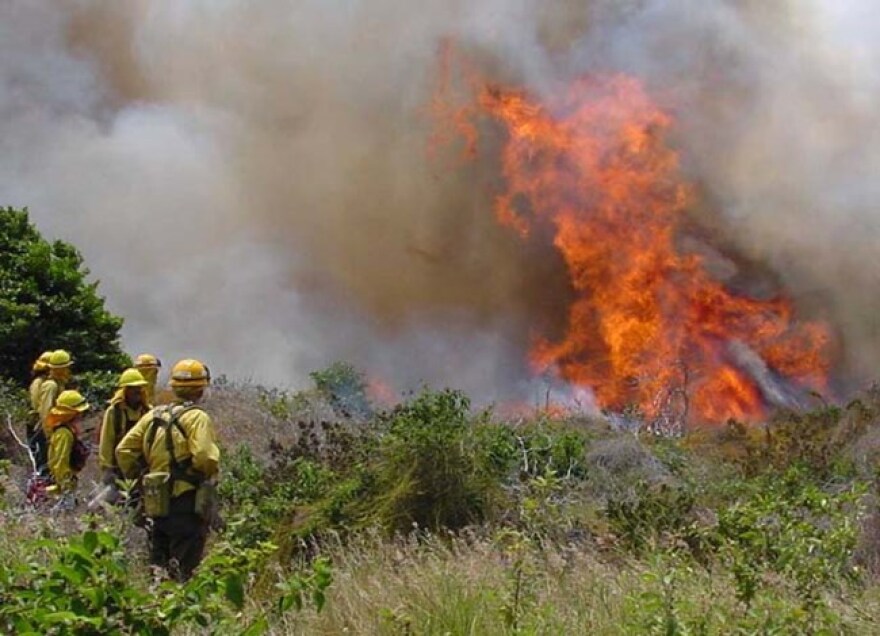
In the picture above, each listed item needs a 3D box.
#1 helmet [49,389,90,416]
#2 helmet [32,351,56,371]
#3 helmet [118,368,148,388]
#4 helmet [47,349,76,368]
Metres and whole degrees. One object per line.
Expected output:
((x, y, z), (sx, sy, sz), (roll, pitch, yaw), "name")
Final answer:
((-6.159, 1.432, 16.280), (0.422, 0.248, 0.447), (7, 8, 34), "helmet")
((-7.196, 0.745, 17.629), (0.382, 0.236, 0.556), (-3, 3, -3), "helmet")
((-5.177, 1.036, 16.237), (0.384, 0.240, 0.328), (-7, -7, 36), "helmet")
((-6.798, 0.764, 17.302), (0.403, 0.237, 0.421), (-7, 6, 4), "helmet")
